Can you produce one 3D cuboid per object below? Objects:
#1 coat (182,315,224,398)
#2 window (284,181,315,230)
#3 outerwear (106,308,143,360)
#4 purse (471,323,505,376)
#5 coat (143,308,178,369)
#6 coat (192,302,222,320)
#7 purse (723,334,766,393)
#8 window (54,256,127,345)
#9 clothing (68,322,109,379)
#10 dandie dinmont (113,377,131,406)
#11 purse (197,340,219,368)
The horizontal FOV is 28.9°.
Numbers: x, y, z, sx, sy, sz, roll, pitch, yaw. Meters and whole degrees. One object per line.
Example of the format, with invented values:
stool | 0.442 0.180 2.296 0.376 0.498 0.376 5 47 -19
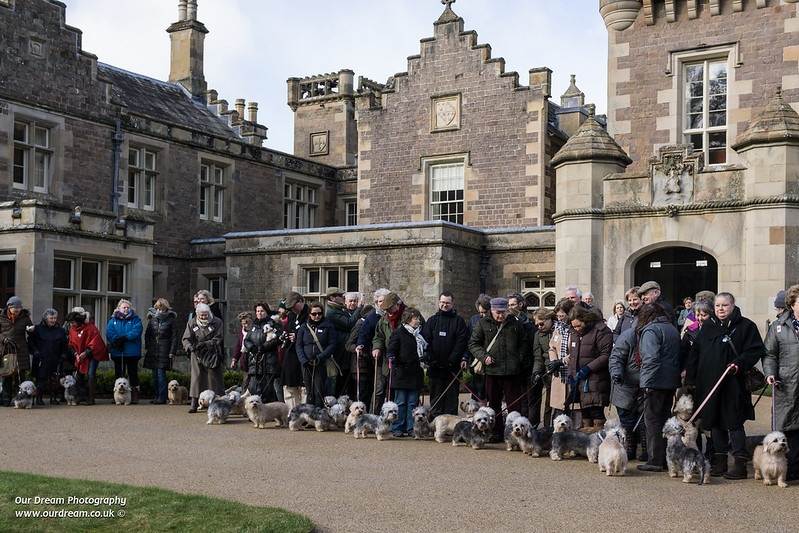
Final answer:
coat | -4.176 1.984 33.131 0.875 1.941 0.781 0 -6 -6
window | -3.113 -1.865 47.667 0.219 1.319 1.842 2 0 27
outerwear | -6.014 1.488 34.105 0.789 0.968 0.626 -1 -3 5
purse | 1.705 1.584 29.873 0.430 1.054 0.280 32 4 -25
coat | -5.226 1.651 34.188 0.787 1.315 0.470 4 1 11
coat | -4.329 0.964 35.306 0.601 0.553 0.582 0 0 -7
purse | 6.252 1.745 27.704 0.784 0.962 0.297 4 -8 -23
window | -7.289 0.801 36.329 0.262 1.531 2.237 -3 -3 31
clothing | -6.823 1.762 33.863 0.859 1.089 0.696 1 7 32
dandie dinmont | -5.921 2.739 33.788 0.382 0.518 0.553 -3 -17 -4
purse | -4.052 1.837 32.958 0.484 0.644 0.375 -12 3 -25
